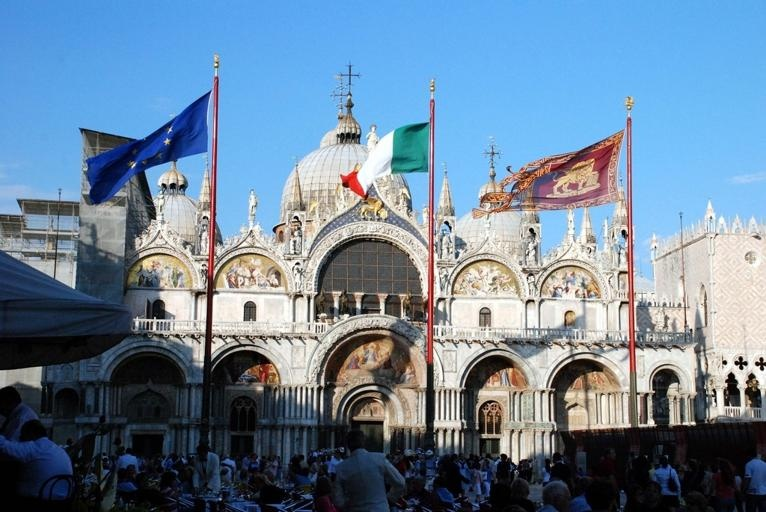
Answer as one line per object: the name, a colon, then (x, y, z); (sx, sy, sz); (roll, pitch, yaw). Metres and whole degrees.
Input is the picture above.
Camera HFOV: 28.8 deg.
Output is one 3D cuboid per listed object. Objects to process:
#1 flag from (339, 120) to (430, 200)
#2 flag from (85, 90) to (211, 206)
flag: (0.123, -4.706, 75.020); (4.562, 3.523, 0.312); (0, -2, 22)
flag: (-11.236, -5.441, 73.163); (5.979, 5.809, 0.314); (-2, -20, 2)
